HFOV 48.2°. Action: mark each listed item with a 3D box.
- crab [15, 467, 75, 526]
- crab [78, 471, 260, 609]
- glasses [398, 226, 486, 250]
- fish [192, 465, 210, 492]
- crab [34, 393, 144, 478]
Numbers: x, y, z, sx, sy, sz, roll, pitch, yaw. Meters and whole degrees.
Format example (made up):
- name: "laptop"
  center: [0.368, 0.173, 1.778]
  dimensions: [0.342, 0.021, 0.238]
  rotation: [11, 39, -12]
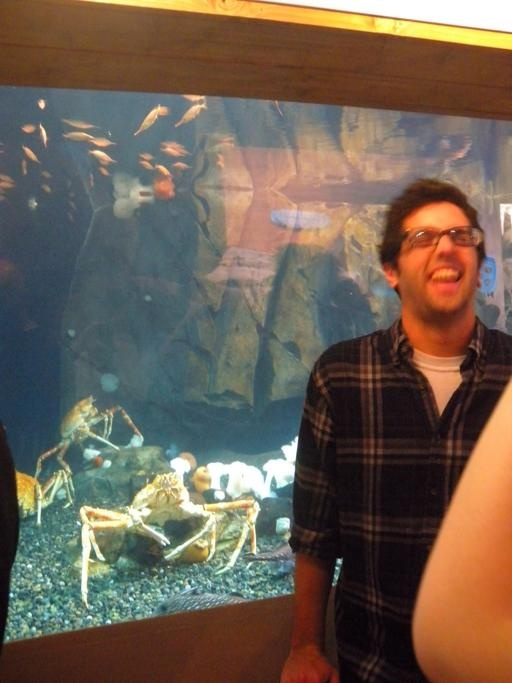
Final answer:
- name: "crab"
  center: [-0.914, 0.676, 2.496]
  dimensions: [0.228, 0.237, 0.161]
  rotation: [-4, 15, -22]
- name: "crab"
  center: [-0.381, 0.835, 2.624]
  dimensions: [0.838, 0.417, 0.334]
  rotation: [-4, 15, -20]
- name: "glasses"
  center: [0.349, -0.189, 1.081]
  dimensions: [0.123, 0.045, 0.111]
  rotation: [3, 9, -10]
- name: "fish"
  center: [-0.258, 0.645, 2.702]
  dimensions: [0.087, 0.117, 0.045]
  rotation: [1, 3, -19]
- name: "crab"
  center: [-0.776, 0.353, 2.640]
  dimensions: [0.352, 0.362, 0.359]
  rotation: [12, 13, 38]
